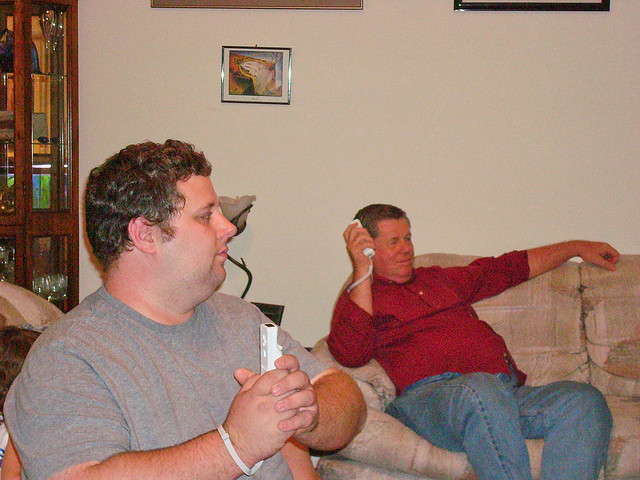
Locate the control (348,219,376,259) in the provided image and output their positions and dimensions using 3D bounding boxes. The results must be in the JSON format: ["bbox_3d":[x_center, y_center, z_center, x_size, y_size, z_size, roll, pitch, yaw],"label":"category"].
[{"bbox_3d":[0.207,0.002,3.108,0.053,0.216,0.045,-25,-45,6],"label":"control"}]

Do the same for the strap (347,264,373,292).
[{"bbox_3d":[0.205,0.193,3.048,0.034,0.128,0.101,39,-9,15],"label":"strap"}]

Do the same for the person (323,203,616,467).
[{"bbox_3d":[0.674,0.448,3.006,1.272,1.261,1.096,-6,-6,-24],"label":"person"}]

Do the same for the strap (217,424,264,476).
[{"bbox_3d":[-0.224,0.615,1.837,0.148,0.145,0.077,2,-1,-37],"label":"strap"}]

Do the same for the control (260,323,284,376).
[{"bbox_3d":[-0.147,0.322,1.884,0.065,0.148,0.099,1,0,-9],"label":"control"}]

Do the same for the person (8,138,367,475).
[{"bbox_3d":[-0.360,0.309,2.207,0.835,1.244,1.316,-4,-2,25],"label":"person"}]
